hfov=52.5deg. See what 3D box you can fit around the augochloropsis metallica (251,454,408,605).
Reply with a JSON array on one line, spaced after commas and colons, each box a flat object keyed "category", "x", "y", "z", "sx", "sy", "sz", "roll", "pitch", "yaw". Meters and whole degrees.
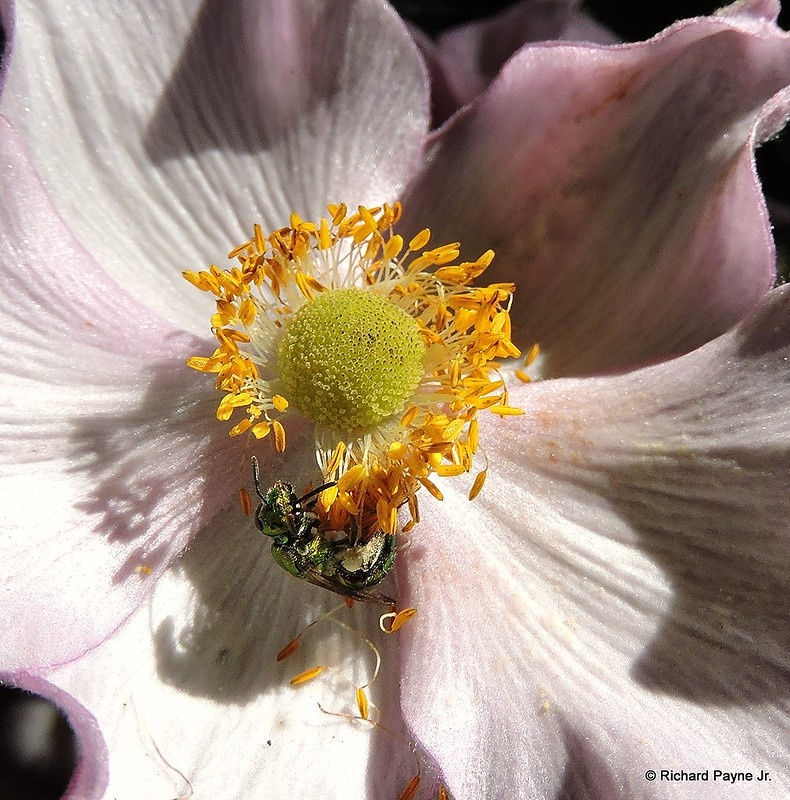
[{"category": "augochloropsis metallica", "x": -0.125, "y": 0.188, "z": 1.036, "sx": 0.064, "sy": 0.160, "sz": 0.231, "roll": -43, "pitch": -65, "yaw": 8}]
